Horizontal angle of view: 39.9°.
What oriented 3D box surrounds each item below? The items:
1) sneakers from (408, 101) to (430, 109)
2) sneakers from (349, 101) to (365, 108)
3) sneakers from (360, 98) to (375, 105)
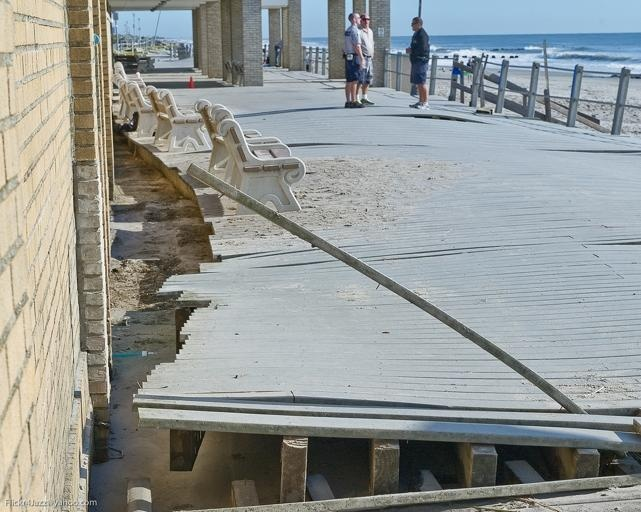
[{"bbox_3d":[1.690,-2.569,15.142,0.175,0.146,0.443,-9,16,-25],"label":"sneakers"},{"bbox_3d":[0.634,-2.653,15.539,0.295,0.087,0.099,-4,26,-11],"label":"sneakers"},{"bbox_3d":[0.831,-2.783,16.007,0.344,0.095,0.100,3,22,-9],"label":"sneakers"}]
